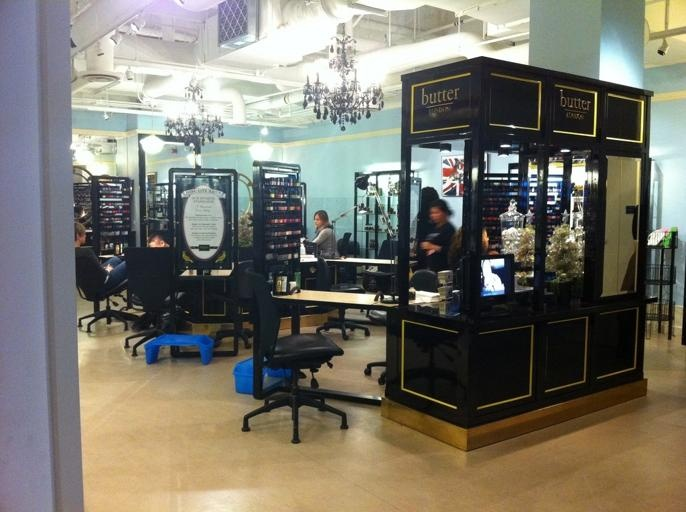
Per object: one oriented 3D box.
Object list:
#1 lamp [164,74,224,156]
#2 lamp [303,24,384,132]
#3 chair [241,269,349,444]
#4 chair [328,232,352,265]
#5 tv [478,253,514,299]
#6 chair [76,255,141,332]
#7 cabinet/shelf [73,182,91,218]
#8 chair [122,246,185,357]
[{"bbox_3d":[-2.535,-2.422,9.749,0.893,1.362,2.219,-1,8,-10],"label":"lamp"},{"bbox_3d":[0.042,-2.332,7.192,0.918,1.465,1.201,1,7,5],"label":"lamp"},{"bbox_3d":[-0.396,0.802,4.707,0.860,1.232,0.839,1,3,-10],"label":"chair"},{"bbox_3d":[-0.025,-0.248,12.636,0.464,0.629,0.433,-3,1,-4],"label":"chair"},{"bbox_3d":[1.178,0.158,4.388,0.339,0.290,0.170,-3,4,-44],"label":"tv"},{"bbox_3d":[-3.232,0.456,7.693,0.676,0.934,0.786,-11,-6,26],"label":"chair"},{"bbox_3d":[-5.635,-1.240,12.410,0.658,0.739,0.269,6,9,38],"label":"cabinet/shelf"},{"bbox_3d":[-2.308,0.520,6.974,0.759,1.256,0.831,-3,0,8],"label":"chair"}]
